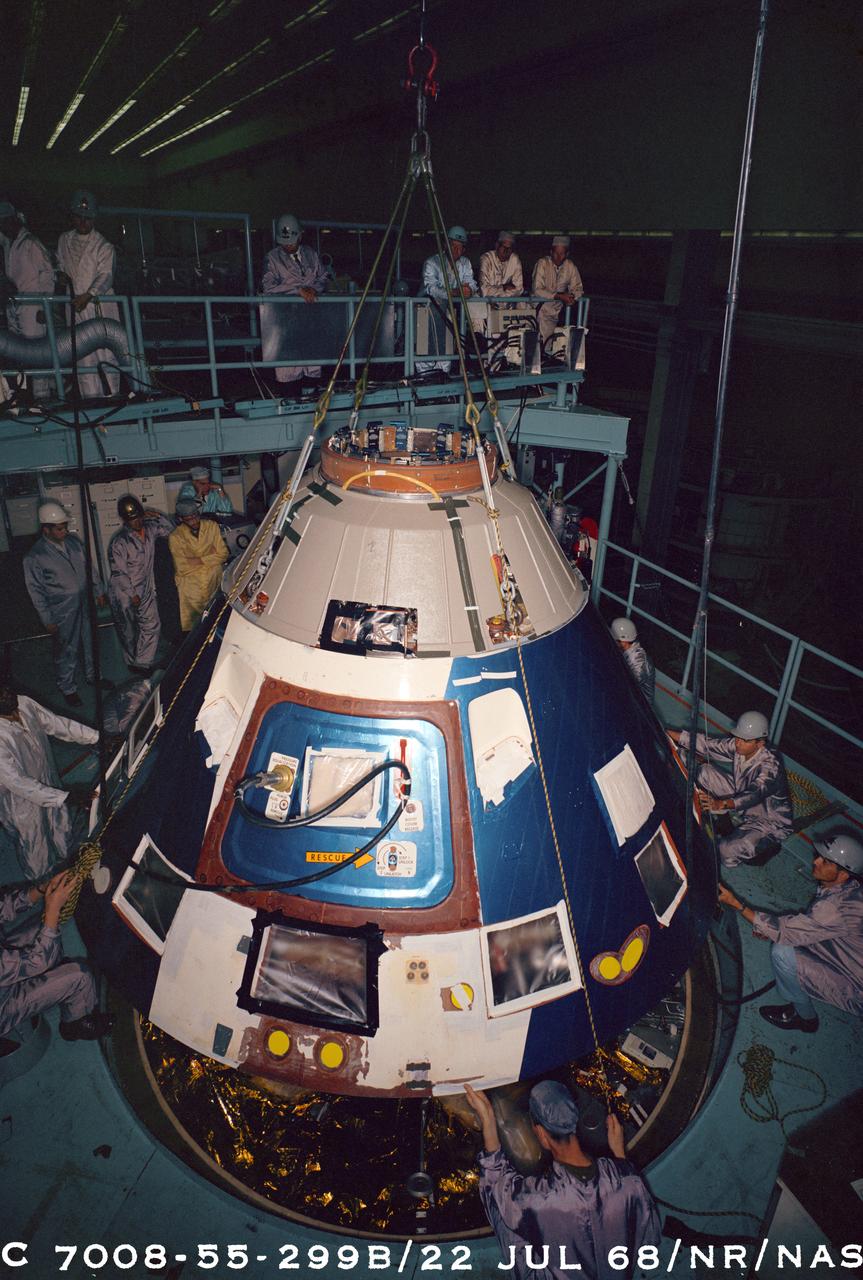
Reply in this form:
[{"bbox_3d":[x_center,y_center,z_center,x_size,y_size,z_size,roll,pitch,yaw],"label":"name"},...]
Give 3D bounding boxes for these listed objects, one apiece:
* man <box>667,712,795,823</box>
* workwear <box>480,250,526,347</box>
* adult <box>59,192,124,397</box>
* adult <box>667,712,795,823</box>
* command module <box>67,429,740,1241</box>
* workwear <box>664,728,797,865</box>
[{"bbox_3d":[2.530,1.092,6.673,0.588,0.789,0.888,-18,-31,6],"label":"man"},{"bbox_3d":[1.056,-4.691,11.394,0.499,1.843,0.539,-3,-1,7],"label":"workwear"},{"bbox_3d":[-4.294,-4.039,9.682,0.722,2.525,0.780,9,10,15],"label":"adult"},{"bbox_3d":[2.530,1.092,6.673,0.588,0.789,0.888,-18,-31,6],"label":"adult"},{"bbox_3d":[-0.268,0.399,4.571,3.045,3.042,3.086,4,14,0],"label":"command module"},{"bbox_3d":[2.385,1.264,6.309,0.718,0.925,1.088,-8,-40,9],"label":"workwear"}]
